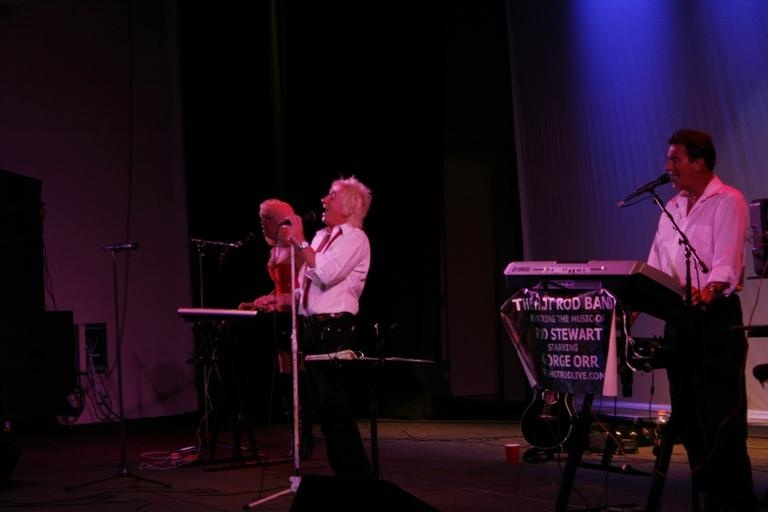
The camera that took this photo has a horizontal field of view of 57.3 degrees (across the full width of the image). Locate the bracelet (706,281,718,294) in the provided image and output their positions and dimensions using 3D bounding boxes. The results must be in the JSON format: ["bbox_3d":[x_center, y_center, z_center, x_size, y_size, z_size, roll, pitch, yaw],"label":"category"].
[{"bbox_3d":[2.109,0.196,4.500,0.065,0.049,0.067,2,-7,11],"label":"bracelet"}]

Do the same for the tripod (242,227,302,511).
[{"bbox_3d":[-0.845,0.758,5.591,0.391,2.011,1.188,-2,0,-6],"label":"tripod"}]

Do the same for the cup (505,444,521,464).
[{"bbox_3d":[1.112,1.688,6.086,0.176,0.158,0.192,0,-9,0],"label":"cup"}]
